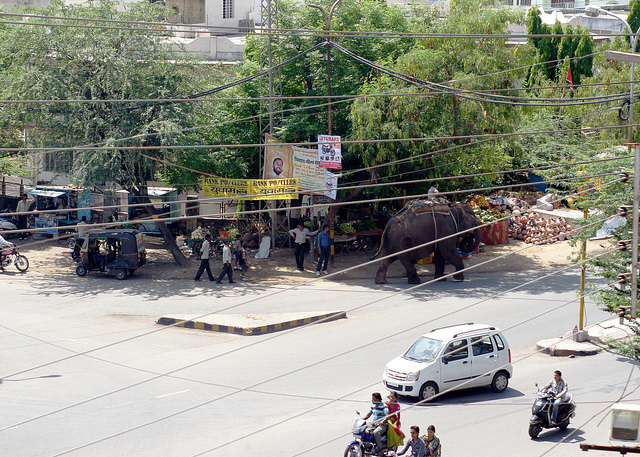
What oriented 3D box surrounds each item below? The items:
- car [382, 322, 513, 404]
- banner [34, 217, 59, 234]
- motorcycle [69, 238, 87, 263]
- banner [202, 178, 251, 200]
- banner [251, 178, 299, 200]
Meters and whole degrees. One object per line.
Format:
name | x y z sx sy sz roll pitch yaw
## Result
car | 4.791 5.092 51.583 4.617 2.630 1.333 -1 4 -16
banner | -13.847 -0.138 68.644 1.090 0.866 1.440 -1 4 -11
motorcycle | -11.555 0.891 64.109 1.019 1.397 0.697 3 0 -5
banner | -4.349 -1.863 62.965 2.204 0.982 2.067 -1 4 -5
banner | -2.057 -1.752 61.513 2.178 1.058 6.254 -1 3 -3
